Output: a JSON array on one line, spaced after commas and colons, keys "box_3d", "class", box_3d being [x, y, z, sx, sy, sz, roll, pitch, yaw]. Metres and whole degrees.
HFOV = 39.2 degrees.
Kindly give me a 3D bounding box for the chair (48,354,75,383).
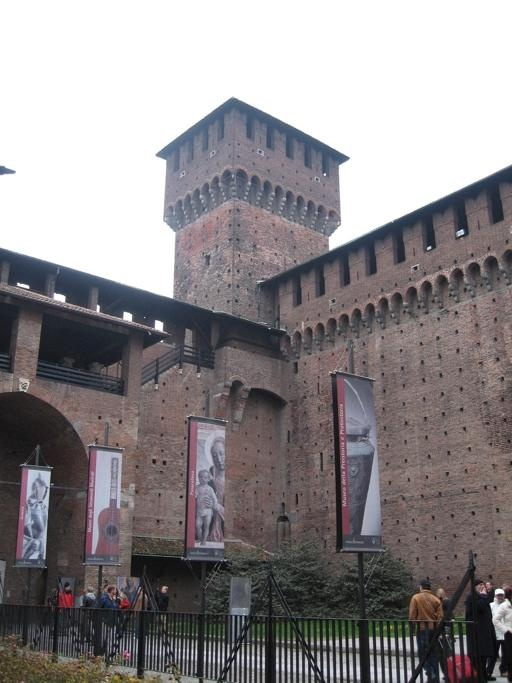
[{"box_3d": [-5.042, 0.680, 18.571, 0.474, 0.460, 0.520, -18, -27, 39], "class": "chair"}]
